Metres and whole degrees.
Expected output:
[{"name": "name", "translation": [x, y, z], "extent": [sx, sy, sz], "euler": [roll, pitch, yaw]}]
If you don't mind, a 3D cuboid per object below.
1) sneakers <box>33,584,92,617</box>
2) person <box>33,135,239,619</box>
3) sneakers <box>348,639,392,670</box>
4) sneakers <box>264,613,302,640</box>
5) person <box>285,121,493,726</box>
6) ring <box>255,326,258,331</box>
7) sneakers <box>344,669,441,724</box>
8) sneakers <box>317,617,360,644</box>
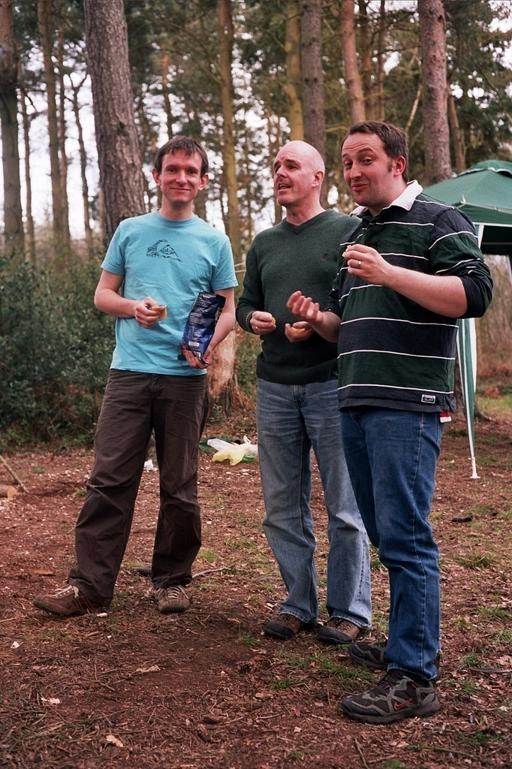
[{"name": "sneakers", "translation": [-0.871, 0.999, 3.806], "extent": [0.305, 0.140, 0.107], "euler": [14, -6, -35]}, {"name": "person", "translation": [-0.516, -0.050, 3.991], "extent": [0.918, 2.337, 0.531], "euler": [1, 7, -19]}, {"name": "sneakers", "translation": [0.483, 1.140, 3.546], "extent": [0.214, 0.093, 0.086], "euler": [15, -3, 12]}, {"name": "sneakers", "translation": [0.117, 1.105, 3.772], "extent": [0.174, 0.071, 0.080], "euler": [12, 32, -53]}, {"name": "person", "translation": [0.540, 0.117, 3.169], "extent": [0.548, 2.214, 0.621], "euler": [4, 6, 3]}, {"name": "ring", "translation": [0.003, -0.247, 3.706], "extent": [0.005, 0.014, 0.010], "euler": [-14, 42, -20]}, {"name": "sneakers", "translation": [0.506, 1.157, 3.098], "extent": [0.404, 0.173, 0.149], "euler": [1, -4, -10]}, {"name": "sneakers", "translation": [0.386, 1.108, 3.713], "extent": [0.204, 0.080, 0.085], "euler": [-12, -48, 49]}]
